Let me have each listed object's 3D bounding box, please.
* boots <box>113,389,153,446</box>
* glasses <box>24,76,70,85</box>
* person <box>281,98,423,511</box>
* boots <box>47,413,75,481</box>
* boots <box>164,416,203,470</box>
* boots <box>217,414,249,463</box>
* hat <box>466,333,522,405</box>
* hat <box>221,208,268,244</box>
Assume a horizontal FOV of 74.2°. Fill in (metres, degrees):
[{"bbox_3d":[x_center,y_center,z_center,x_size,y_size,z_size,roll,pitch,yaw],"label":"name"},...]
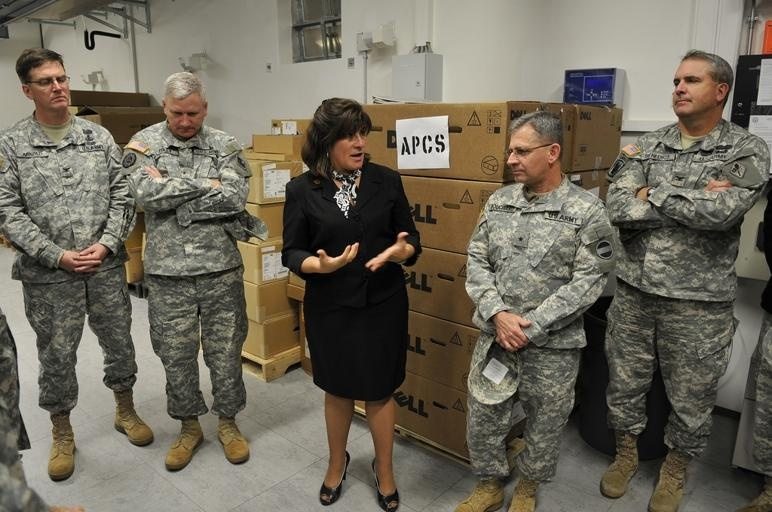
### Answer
[{"bbox_3d":[-1.667,1.043,3.377,0.405,0.305,0.169,6,9,38],"label":"boots"},{"bbox_3d":[-1.936,-1.016,2.945,0.149,0.058,0.221,15,26,41],"label":"glasses"},{"bbox_3d":[-0.170,0.290,2.741,0.722,2.171,0.601,-2,19,3],"label":"person"},{"bbox_3d":[-1.991,1.149,3.135,0.149,0.325,0.352,-3,18,-26],"label":"boots"},{"bbox_3d":[-1.237,1.163,3.183,0.136,0.219,0.348,1,10,8],"label":"boots"},{"bbox_3d":[-0.957,1.145,3.247,0.126,0.147,0.352,-13,16,-27],"label":"boots"},{"bbox_3d":[0.555,0.608,2.640,0.222,0.358,0.192,4,12,19],"label":"hat"},{"bbox_3d":[-0.854,-0.185,3.117,0.214,0.094,0.187,23,66,9],"label":"hat"}]
